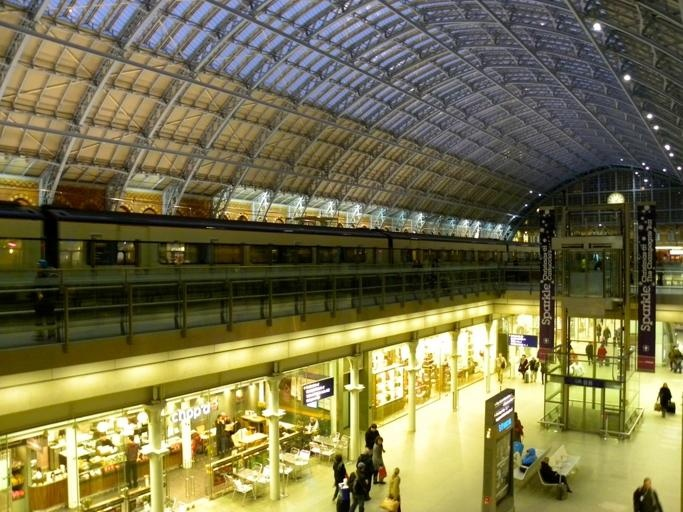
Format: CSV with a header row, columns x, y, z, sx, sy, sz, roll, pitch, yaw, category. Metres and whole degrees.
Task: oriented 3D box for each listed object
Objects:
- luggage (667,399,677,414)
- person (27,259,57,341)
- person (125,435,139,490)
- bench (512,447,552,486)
x,y,z,sx,sy,sz,roll,pitch,yaw,category
16.793,7.688,25.778,0.540,0.638,0.763,-6,-4,38,luggage
-6.422,1.068,10.974,0.508,1.381,0.458,-2,1,-28,person
-6.735,6.658,16.320,0.472,1.135,0.332,-3,2,-42,person
6.891,7.691,18.390,0.793,0.739,2.410,4,7,39,bench
